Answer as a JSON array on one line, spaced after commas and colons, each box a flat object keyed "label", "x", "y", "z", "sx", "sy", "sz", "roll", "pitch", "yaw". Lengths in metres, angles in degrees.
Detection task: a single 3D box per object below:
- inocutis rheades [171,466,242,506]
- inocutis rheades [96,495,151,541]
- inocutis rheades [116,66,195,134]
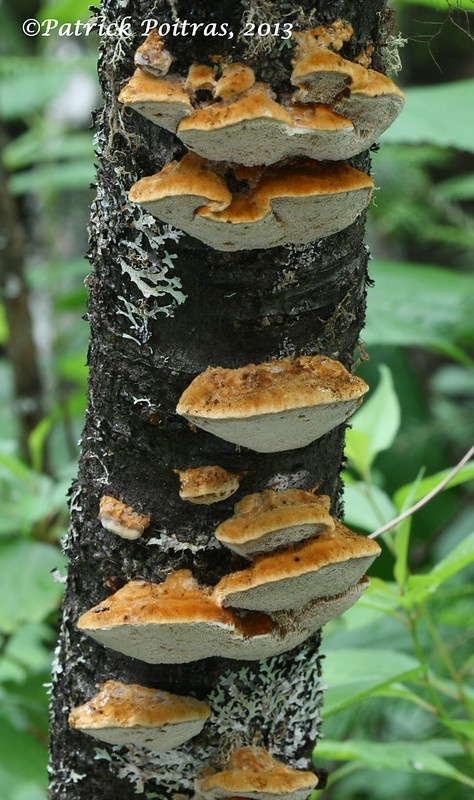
[{"label": "inocutis rheades", "x": -0.040, "y": 0.116, "z": 1.224, "sx": 0.094, "sy": 0.031, "sz": 0.051, "roll": 0, "pitch": 51, "yaw": 13}, {"label": "inocutis rheades", "x": -0.173, "y": 0.174, "z": 1.283, "sx": 0.085, "sy": 0.046, "sz": 0.041, "roll": 18, "pitch": 33, "yaw": 28}, {"label": "inocutis rheades", "x": -0.097, "y": -0.355, "z": 1.038, "sx": 0.082, "sy": 0.080, "sz": 0.022, "roll": 30, "pitch": 76, "yaw": 15}]
